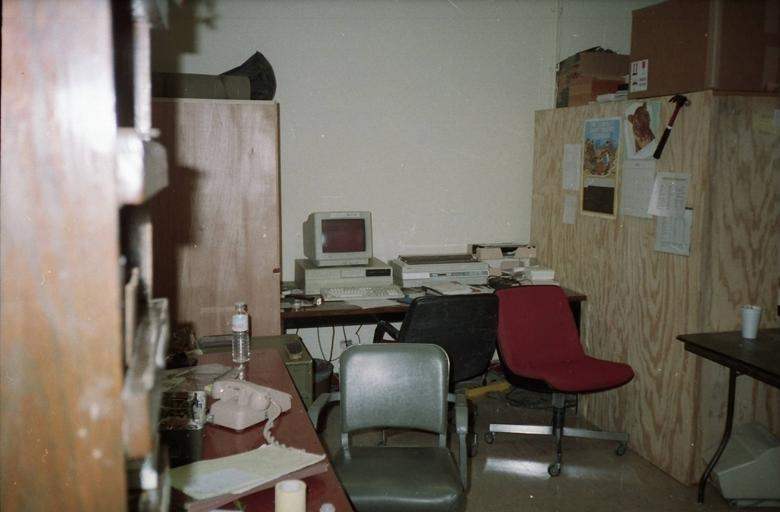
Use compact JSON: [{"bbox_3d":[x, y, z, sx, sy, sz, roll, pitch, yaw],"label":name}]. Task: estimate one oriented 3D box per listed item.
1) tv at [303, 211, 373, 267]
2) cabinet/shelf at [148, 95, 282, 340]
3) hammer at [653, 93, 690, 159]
[{"bbox_3d":[-0.326,-0.083,4.352,0.371,0.312,0.355,1,-4,-21],"label":"tv"},{"bbox_3d":[-1.023,-0.253,4.008,0.583,1.236,0.755,1,11,-20],"label":"cabinet/shelf"},{"bbox_3d":[1.442,-0.659,3.509,0.100,0.282,0.126,-13,21,-36],"label":"hammer"}]
